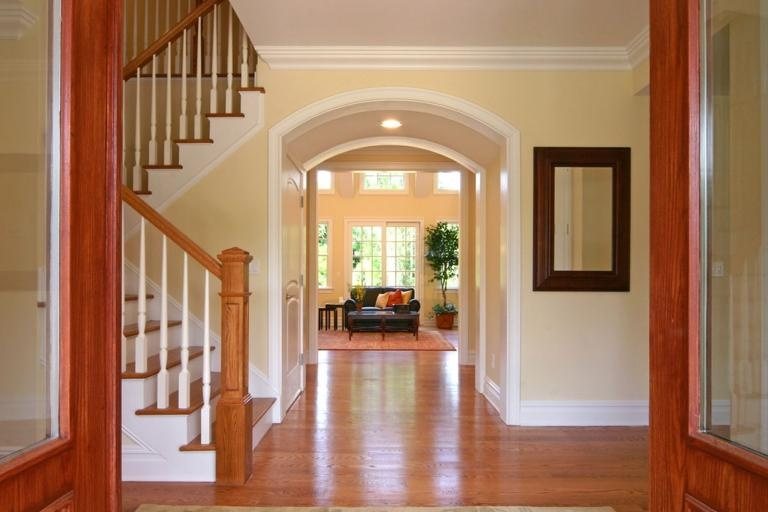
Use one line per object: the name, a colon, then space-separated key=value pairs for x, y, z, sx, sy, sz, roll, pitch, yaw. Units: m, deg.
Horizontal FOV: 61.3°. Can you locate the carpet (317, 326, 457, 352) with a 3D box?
carpet: x=0.009 y=1.280 z=9.929 sx=1.994 sy=0.196 sz=2.443 roll=0 pitch=4 yaw=-4

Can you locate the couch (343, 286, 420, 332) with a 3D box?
couch: x=-0.053 y=0.928 z=11.110 sx=1.588 sy=0.613 sz=1.175 roll=-1 pitch=5 yaw=18

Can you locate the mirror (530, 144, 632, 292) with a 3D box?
mirror: x=1.598 y=-0.265 z=5.256 sx=0.744 sy=1.173 sz=0.092 roll=0 pitch=-1 yaw=0

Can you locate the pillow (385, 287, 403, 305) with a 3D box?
pillow: x=0.179 y=0.785 z=11.793 sx=0.390 sy=0.340 sz=0.212 roll=-2 pitch=-11 yaw=15

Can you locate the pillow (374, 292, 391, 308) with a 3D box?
pillow: x=0.008 y=0.794 z=11.744 sx=0.201 sy=0.347 sz=0.384 roll=6 pitch=-2 yaw=-39
